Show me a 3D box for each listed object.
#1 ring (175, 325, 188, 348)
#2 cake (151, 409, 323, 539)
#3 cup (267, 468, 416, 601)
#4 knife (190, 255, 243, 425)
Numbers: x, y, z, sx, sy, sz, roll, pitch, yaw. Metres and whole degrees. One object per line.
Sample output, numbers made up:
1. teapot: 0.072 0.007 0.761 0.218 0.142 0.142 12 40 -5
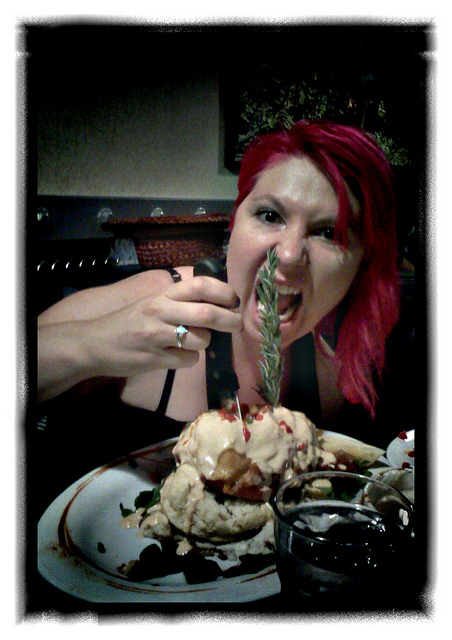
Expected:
1. ring: -0.103 0.041 1.339 0.028 0.041 0.016 10 19 19
2. cake: 0.067 0.293 1.416 0.321 0.148 0.474 18 29 36
3. cup: 0.188 0.345 1.043 0.250 0.196 0.261 -1 3 0
4. knife: -0.017 0.075 1.484 0.095 0.507 0.044 4 36 17
